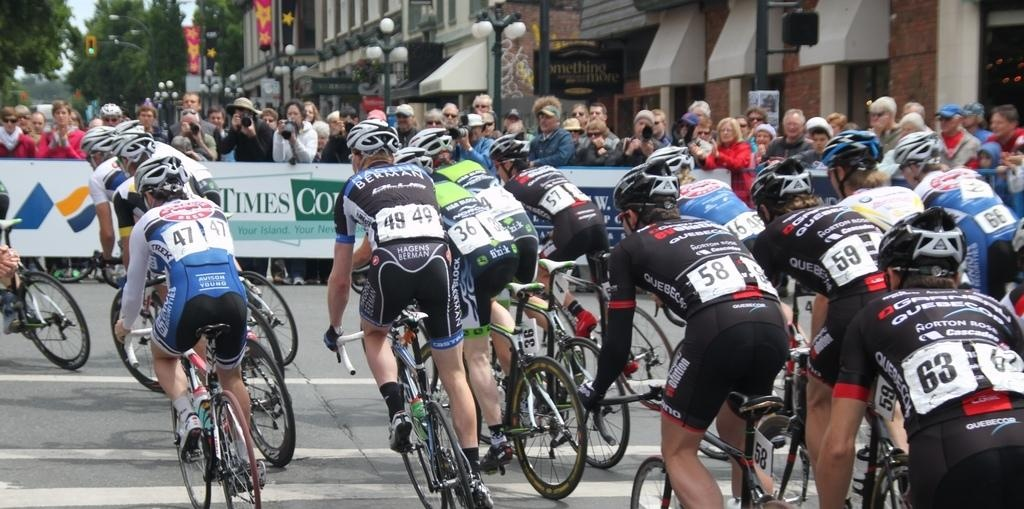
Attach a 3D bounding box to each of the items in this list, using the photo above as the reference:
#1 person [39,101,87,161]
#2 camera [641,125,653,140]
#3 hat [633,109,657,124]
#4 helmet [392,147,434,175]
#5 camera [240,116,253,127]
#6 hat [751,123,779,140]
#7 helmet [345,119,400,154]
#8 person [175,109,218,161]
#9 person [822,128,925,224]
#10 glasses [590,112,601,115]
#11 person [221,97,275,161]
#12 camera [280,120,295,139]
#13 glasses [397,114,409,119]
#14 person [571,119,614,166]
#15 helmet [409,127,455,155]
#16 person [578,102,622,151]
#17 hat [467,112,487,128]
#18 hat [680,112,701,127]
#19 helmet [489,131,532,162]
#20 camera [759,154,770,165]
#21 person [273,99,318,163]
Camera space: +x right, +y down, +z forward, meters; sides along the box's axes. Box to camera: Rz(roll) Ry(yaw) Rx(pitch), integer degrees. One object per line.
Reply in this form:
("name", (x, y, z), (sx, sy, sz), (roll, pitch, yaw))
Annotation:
("person", (-9.701, -2.571, 28.980), (1.467, 1.267, 0.893), (-2, -2, -15))
("camera", (2.852, -2.536, 27.975), (0.271, 0.229, 0.198), (-16, 11, -2))
("hat", (2.848, -2.865, 28.091), (0.351, 0.380, 0.443), (10, 10, -12))
("helmet", (-1.530, -1.473, 21.046), (0.589, 0.299, 0.399), (-3, 7, -2))
("camera", (-5.566, -2.796, 28.371), (0.198, 0.188, 0.207), (3, 28, -14))
("hat", (5.346, -2.583, 28.136), (0.310, 0.302, 0.399), (1, 12, 9))
("helmet", (-2.090, -1.797, 20.556), (0.703, 0.354, 0.493), (-6, 1, -12))
("person", (-6.888, -2.646, 29.061), (1.102, 1.609, 1.265), (0, 5, -8))
("person", (5.437, -1.108, 20.442), (1.239, 1.573, 1.512), (-11, 24, -11))
("glasses", (1.810, -3.013, 28.655), (0.240, 0.087, 0.159), (1, 5, 9))
("person", (-5.532, -2.652, 28.919), (0.985, 0.874, 1.378), (-11, -3, -16))
("camera", (-4.679, -2.629, 28.395), (0.214, 0.380, 0.333), (5, 7, 43))
("glasses", (-2.209, -2.824, 27.543), (0.129, 0.123, 0.036), (-3, 1, 21))
("person", (1.807, -2.367, 28.475), (1.044, 0.920, 0.646), (6, 18, 28))
("helmet", (-1.253, -1.789, 21.430), (0.569, 0.286, 0.445), (-5, 10, -17))
("person", (1.909, -2.735, 28.798), (1.156, 0.958, 0.574), (7, 3, 38))
("hat", (-0.699, -2.750, 27.513), (0.278, 0.215, 0.358), (-4, -6, 38))
("hat", (3.771, -2.808, 27.951), (0.383, 0.206, 0.278), (29, -16, -38))
("helmet", (-0.019, -1.821, 22.706), (0.645, 0.393, 0.453), (1, 19, -3))
("camera", (5.198, -1.947, 27.692), (0.191, 0.154, 0.210), (-14, -18, -11))
("person", (-4.618, -2.539, 28.939), (0.905, 1.125, 1.366), (0, 5, 1))
